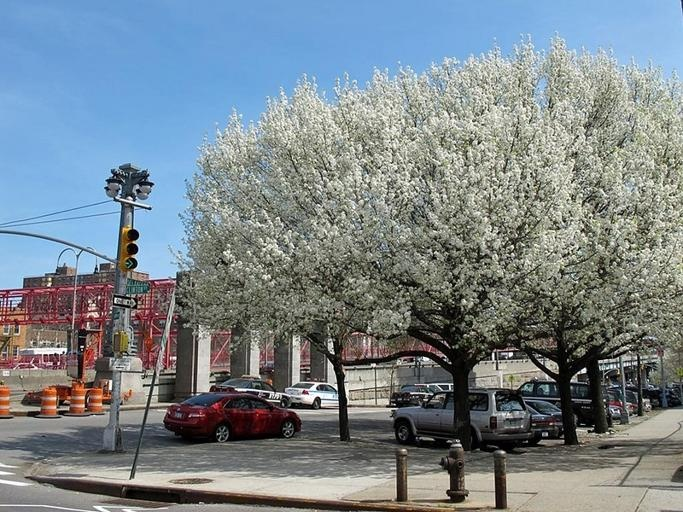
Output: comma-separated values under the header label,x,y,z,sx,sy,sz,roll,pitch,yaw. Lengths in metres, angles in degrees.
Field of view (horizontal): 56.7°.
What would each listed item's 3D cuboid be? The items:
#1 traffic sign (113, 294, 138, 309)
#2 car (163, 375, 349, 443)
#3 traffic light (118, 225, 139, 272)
label,x,y,z,sx,sy,sz,roll,pitch,yaw
traffic sign,-6.733,1.368,19.759,0.865,0.370,0.527,9,-17,-37
car,-3.993,5.944,24.496,5.033,1.665,2.109,4,-6,-38
traffic light,-6.429,-0.307,19.193,0.506,1.436,1.005,3,-15,-19
